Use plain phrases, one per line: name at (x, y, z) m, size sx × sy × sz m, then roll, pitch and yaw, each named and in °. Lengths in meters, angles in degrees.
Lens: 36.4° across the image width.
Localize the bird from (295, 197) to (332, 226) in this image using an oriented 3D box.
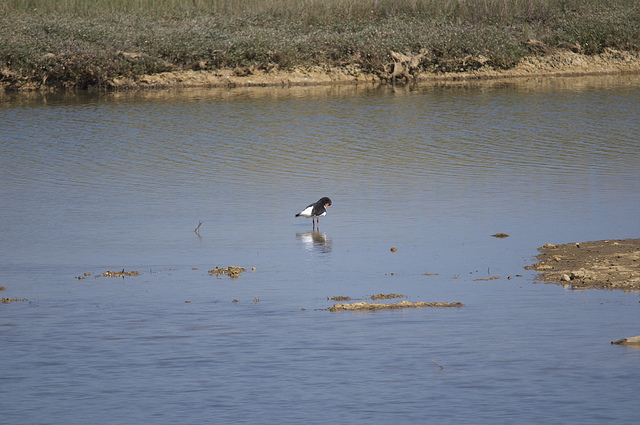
bird at (-0.173, 0.112, 31.950) m, size 0.922 × 1.862 × 0.951 m, roll 7°, pitch 59°, yaw 4°
